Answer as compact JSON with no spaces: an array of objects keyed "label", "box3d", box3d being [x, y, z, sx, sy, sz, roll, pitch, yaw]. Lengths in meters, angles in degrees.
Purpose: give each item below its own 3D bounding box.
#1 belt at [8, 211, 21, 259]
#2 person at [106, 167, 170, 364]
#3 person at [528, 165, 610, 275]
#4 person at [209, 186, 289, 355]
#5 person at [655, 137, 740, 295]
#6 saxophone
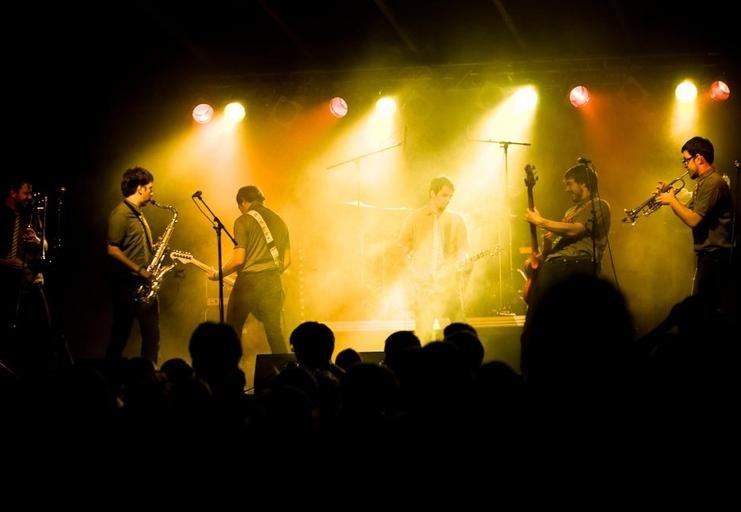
[{"label":"belt","box3d":[-4.506,-0.254,7.904,0.130,0.593,0.078,3,-15,-9]},{"label":"person","box3d":[-2.763,0.037,7.063,0.799,2.660,0.853,0,1,20]},{"label":"person","box3d":[2.374,-0.410,7.378,0.745,1.489,0.889,1,10,5]},{"label":"person","box3d":[-1.474,0.135,7.713,0.905,2.204,0.783,-1,1,-40]},{"label":"person","box3d":[3.638,-0.429,6.880,0.554,1.974,0.658,0,8,0]},{"label":"saxophone","box3d":[-2.636,0.106,7.255,0.426,1.602,0.598,1,11,0]}]
